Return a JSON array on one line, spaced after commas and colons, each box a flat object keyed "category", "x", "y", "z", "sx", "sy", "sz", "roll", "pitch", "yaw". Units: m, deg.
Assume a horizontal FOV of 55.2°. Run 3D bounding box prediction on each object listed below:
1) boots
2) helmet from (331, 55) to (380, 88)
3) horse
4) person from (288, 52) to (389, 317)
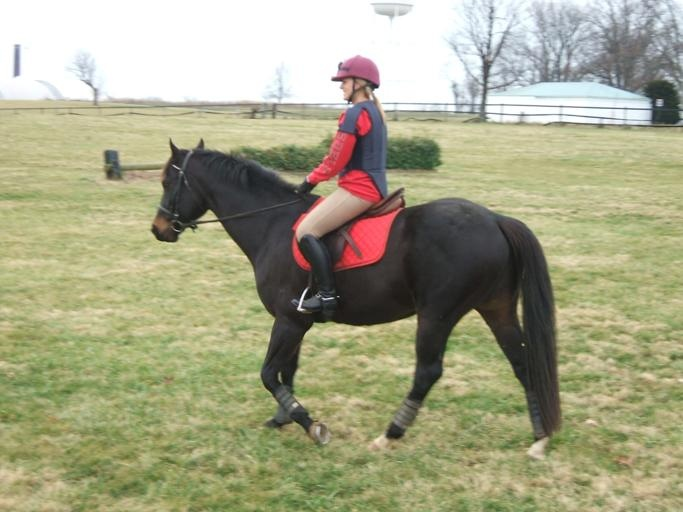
[{"category": "boots", "x": -0.279, "y": 0.225, "z": 6.307, "sx": 0.417, "sy": 0.864, "sz": 0.294, "roll": -4, "pitch": 12, "yaw": -12}, {"category": "helmet", "x": 0.155, "y": -1.831, "z": 6.548, "sx": 0.505, "sy": 0.202, "sz": 0.342, "roll": -3, "pitch": 10, "yaw": 36}, {"category": "horse", "x": -0.064, "y": 0.197, "z": 6.917, "sx": 4.796, "sy": 2.130, "sz": 1.182, "roll": 10, "pitch": 5, "yaw": 20}, {"category": "person", "x": -0.024, "y": -0.659, "z": 6.398, "sx": 0.566, "sy": 2.588, "sz": 1.135, "roll": 8, "pitch": 15, "yaw": 39}]
